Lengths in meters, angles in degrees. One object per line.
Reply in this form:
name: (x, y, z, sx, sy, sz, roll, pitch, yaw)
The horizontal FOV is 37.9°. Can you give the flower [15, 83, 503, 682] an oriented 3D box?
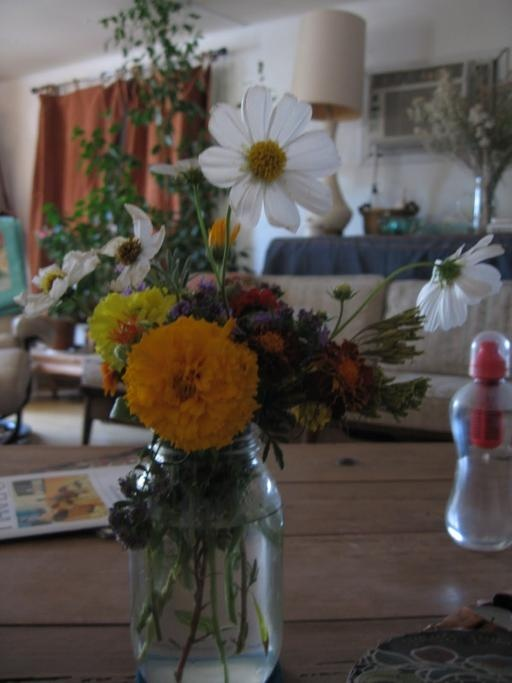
flower: (0.022, 0.021, 0.645, 0.338, 0.455, 0.334, 6, -5, -43)
